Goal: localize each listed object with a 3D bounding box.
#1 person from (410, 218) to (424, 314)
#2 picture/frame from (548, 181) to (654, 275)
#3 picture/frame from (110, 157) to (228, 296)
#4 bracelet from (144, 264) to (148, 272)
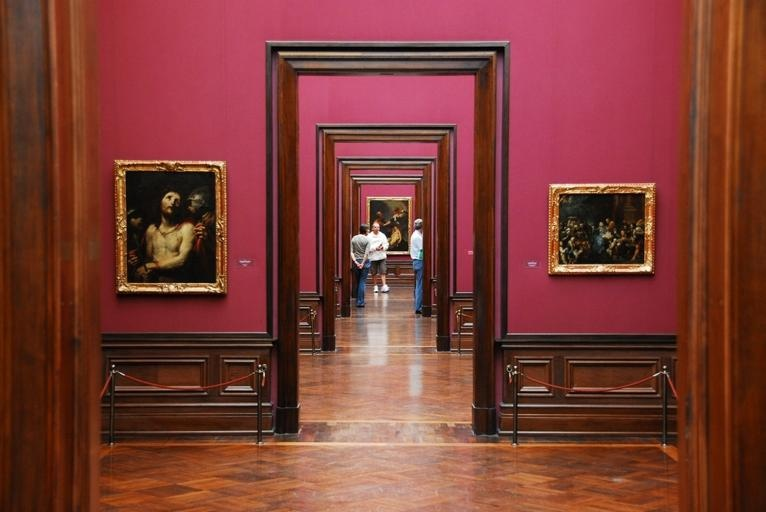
[{"bbox_3d":[0.885,0.258,19.618,0.254,1.666,0.730,-1,0,-2],"label":"person"},{"bbox_3d":[2.433,-0.326,8.521,0.887,0.861,0.067,0,-2,0],"label":"picture/frame"},{"bbox_3d":[-2.405,-0.357,8.436,1.311,1.687,0.122,0,-2,-2],"label":"picture/frame"},{"bbox_3d":[-2.613,0.115,8.432,0.049,0.074,0.010,-1,0,6],"label":"bracelet"}]
